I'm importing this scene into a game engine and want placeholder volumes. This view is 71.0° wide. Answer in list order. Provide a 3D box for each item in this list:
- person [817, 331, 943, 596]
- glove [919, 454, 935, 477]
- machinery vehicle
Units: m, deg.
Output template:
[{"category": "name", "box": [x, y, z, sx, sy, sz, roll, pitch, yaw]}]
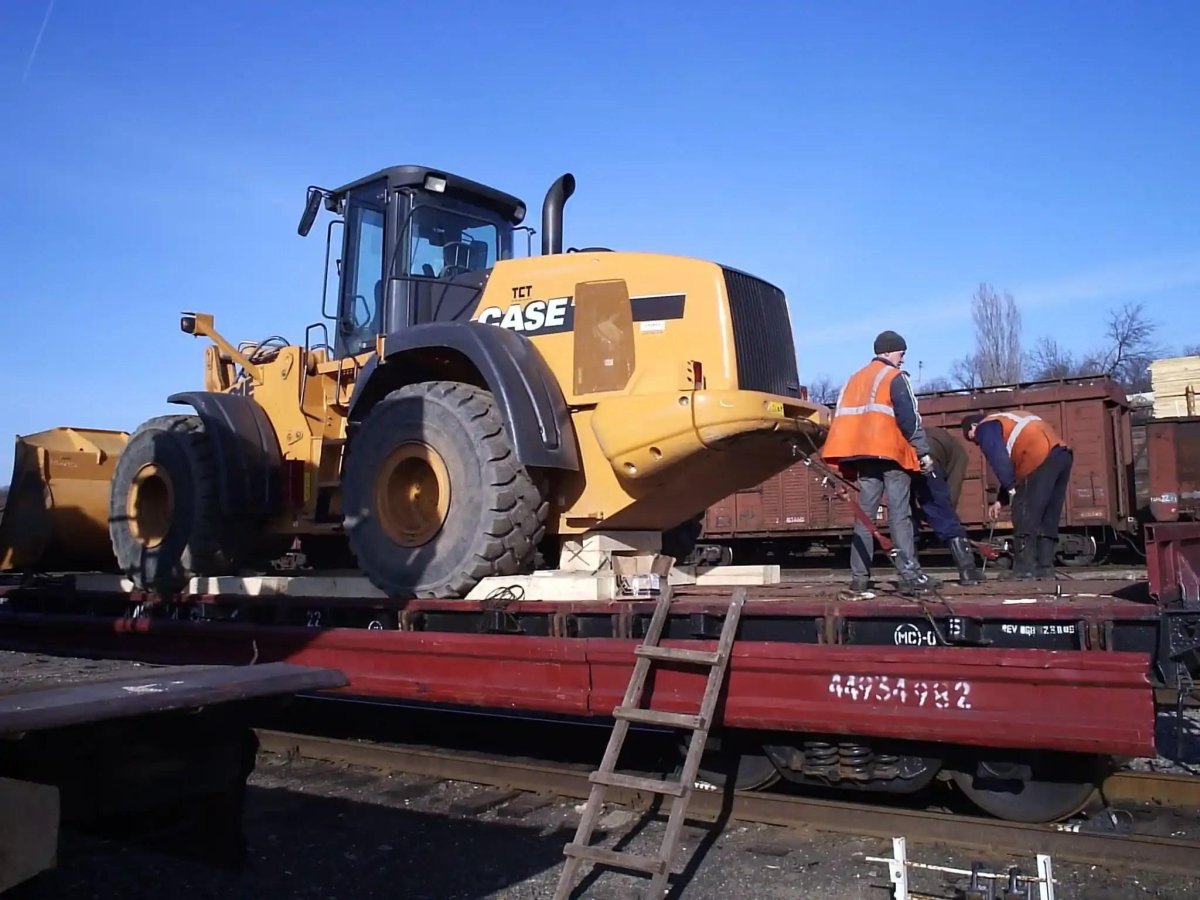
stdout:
[{"category": "person", "box": [1.899, 0.053, 5.822, 0.696, 1.673, 0.813, -1, -1, 22]}, {"category": "glove", "box": [2.329, 0.119, 6.039, 0.088, 0.181, 0.126, -24, -18, 35]}, {"category": "machinery vehicle", "box": [-2.230, -0.262, 8.967, 9.032, 4.212, 3.108, 1, -4, 28]}]
